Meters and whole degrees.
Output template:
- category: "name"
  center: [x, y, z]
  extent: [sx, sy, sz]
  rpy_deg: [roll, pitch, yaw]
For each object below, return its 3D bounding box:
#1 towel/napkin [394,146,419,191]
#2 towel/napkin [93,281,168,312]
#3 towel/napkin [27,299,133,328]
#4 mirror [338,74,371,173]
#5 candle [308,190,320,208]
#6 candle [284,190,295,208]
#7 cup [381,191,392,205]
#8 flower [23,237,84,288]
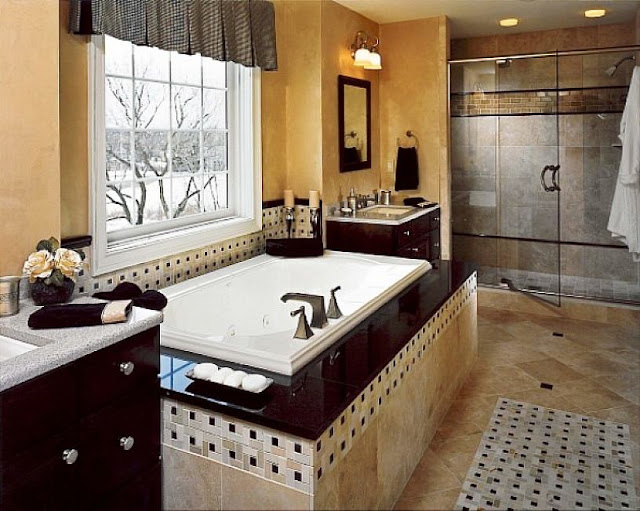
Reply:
- category: "towel/napkin"
  center: [0.899, -0.890, 5.049]
  extent: [0.260, 0.428, 0.129]
  rpy_deg: [-1, 11, 0]
- category: "towel/napkin"
  center: [-0.921, 0.199, 2.438]
  extent: [0.215, 0.083, 0.228]
  rpy_deg: [7, 4, 19]
- category: "towel/napkin"
  center: [-0.890, 0.214, 1.855]
  extent: [0.344, 0.056, 0.185]
  rpy_deg: [-4, 14, -10]
- category: "mirror"
  center: [0.305, -1.247, 4.571]
  extent: [0.041, 1.076, 0.881]
  rpy_deg: [1, 6, 24]
- category: "candle"
  center: [-0.045, -0.476, 4.113]
  extent: [0.085, 0.144, 0.156]
  rpy_deg: [-1, 13, 0]
- category: "candle"
  center: [-0.254, -0.456, 3.989]
  extent: [0.076, 0.142, 0.061]
  rpy_deg: [0, 12, 6]
- category: "cup"
  center: [0.683, -0.591, 5.060]
  extent: [0.110, 0.201, 0.124]
  rpy_deg: [2, 3, 27]
- category: "flower"
  center: [-1.078, 0.023, 1.995]
  extent: [0.182, 0.211, 0.120]
  rpy_deg: [0, -18, -16]
